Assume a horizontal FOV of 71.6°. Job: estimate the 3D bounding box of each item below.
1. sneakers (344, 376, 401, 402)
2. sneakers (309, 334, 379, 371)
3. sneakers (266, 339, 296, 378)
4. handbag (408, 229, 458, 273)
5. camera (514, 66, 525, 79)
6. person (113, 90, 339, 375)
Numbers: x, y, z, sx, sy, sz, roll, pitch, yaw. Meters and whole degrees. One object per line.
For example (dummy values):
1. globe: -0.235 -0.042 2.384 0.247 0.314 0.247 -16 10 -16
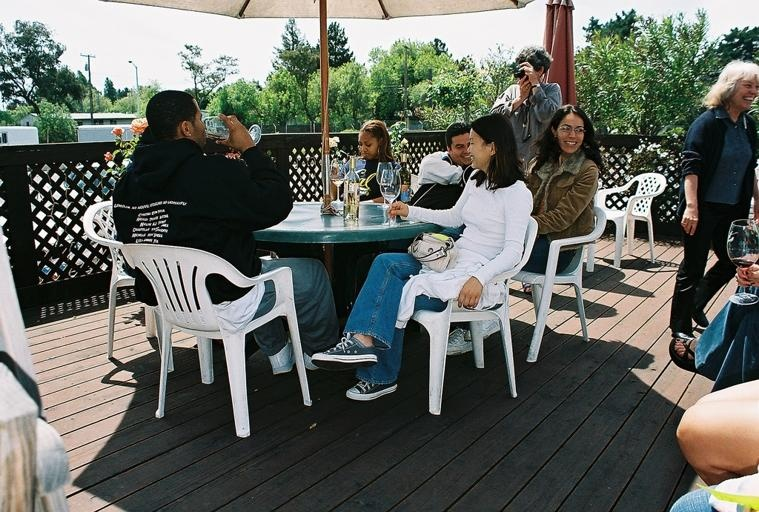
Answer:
1. sneakers: -0.046 0.733 2.910 0.269 0.111 0.109 2 -1 -24
2. sneakers: -0.164 0.497 2.726 0.383 0.184 0.144 4 -9 -6
3. sneakers: -0.537 0.571 2.959 0.093 0.125 0.286 1 11 11
4. handbag: 0.279 -0.028 2.820 0.258 0.191 0.120 -1 15 7
5. camera: 1.163 -1.556 4.394 0.072 0.101 0.088 5 6 5
6. person: -0.749 -0.038 2.663 1.045 1.587 0.536 -9 16 -22
